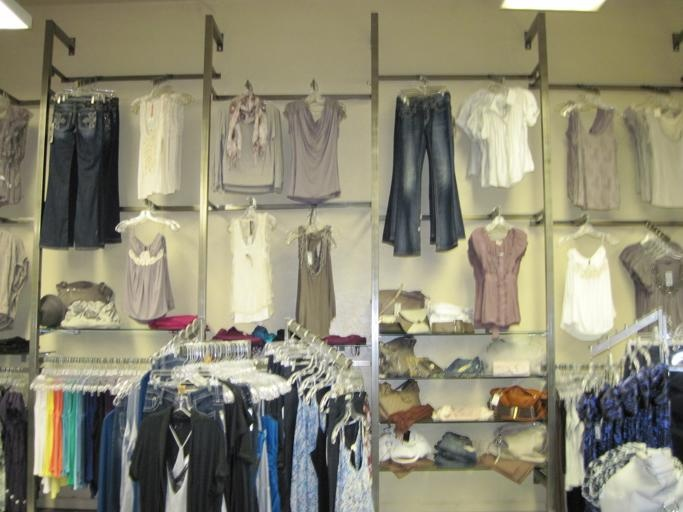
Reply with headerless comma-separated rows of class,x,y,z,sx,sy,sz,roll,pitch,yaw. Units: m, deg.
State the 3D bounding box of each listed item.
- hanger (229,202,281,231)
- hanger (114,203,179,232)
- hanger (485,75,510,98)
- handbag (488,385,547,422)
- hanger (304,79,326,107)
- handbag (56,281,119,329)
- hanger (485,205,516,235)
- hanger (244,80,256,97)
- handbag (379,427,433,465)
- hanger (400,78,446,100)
hanger,-0.809,-0.365,6.652,0.411,0.315,0.171,0,-5,-12
hanger,-1.815,-0.350,6.895,0.632,0.269,0.621,0,-5,-4
hanger,1.446,-1.556,6.720,0.138,0.237,0.074,0,-13,13
handbag,1.563,1.302,6.459,0.504,0.280,0.338,-2,-5,15
hanger,-0.249,-1.520,6.873,0.199,0.290,0.248,-1,16,0
handbag,-2.307,0.442,6.607,0.345,0.412,0.497,1,4,12
hanger,1.490,-0.325,6.758,0.216,0.325,0.034,1,2,14
hanger,-0.871,-1.588,6.907,0.107,0.190,0.264,-3,18,-7
handbag,0.560,1.680,6.431,0.437,0.268,0.186,-1,-5,4
hanger,0.757,-1.522,6.729,0.315,0.144,0.255,-6,14,-21
